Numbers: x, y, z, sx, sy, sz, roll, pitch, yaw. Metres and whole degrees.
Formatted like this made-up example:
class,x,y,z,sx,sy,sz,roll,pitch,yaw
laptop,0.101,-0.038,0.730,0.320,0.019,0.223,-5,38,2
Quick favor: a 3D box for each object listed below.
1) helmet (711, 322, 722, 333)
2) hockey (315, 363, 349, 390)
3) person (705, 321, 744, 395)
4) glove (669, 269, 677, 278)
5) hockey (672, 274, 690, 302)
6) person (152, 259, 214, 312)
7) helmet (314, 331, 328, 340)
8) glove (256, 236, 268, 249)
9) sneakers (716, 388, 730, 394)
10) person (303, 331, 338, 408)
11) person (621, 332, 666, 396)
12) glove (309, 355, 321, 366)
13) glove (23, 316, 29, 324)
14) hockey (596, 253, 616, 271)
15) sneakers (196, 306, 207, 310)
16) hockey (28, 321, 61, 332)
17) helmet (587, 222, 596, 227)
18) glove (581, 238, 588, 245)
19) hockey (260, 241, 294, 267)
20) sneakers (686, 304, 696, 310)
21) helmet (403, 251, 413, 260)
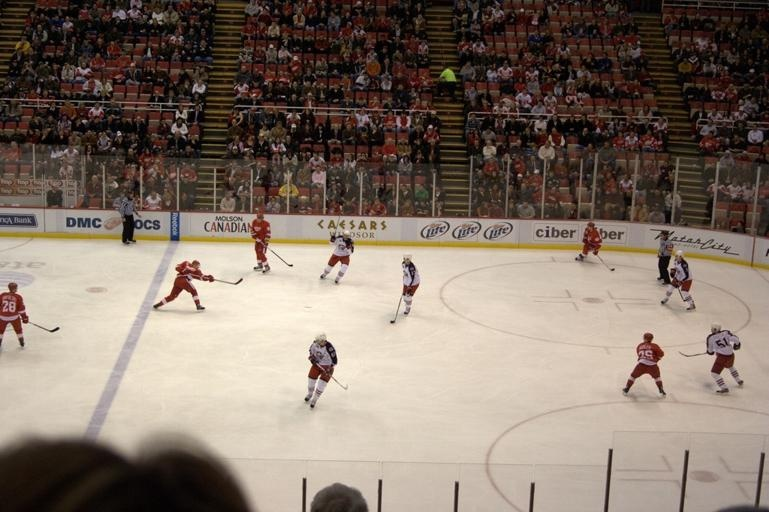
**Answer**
class,x,y,z,sx,sy,sz,roll,pitch,yaw
helmet,8.201,1.804,20.239,0.232,0.283,0.301,-3,1,39
hockey,-1.357,2.939,19.789,0.086,0.355,1.082,-5,36,-43
person,8.647,2.515,20.525,0.862,1.689,1.330,4,5,24
glove,8.810,0.517,24.811,0.157,0.236,0.205,4,5,26
hockey,9.182,1.038,25.010,0.385,0.757,0.492,4,5,30
person,-5.912,0.869,23.960,1.846,1.383,0.830,0,-7,1
helmet,-1.493,1.886,18.737,0.234,0.254,0.294,1,8,4
glove,-4.198,-0.436,27.507,0.401,0.360,0.253,1,4,-14
sneakers,8.337,3.346,20.047,0.312,0.124,0.109,2,12,12
person,-1.539,2.659,19.060,0.717,1.755,0.877,1,4,-5
person,6.447,2.650,20.022,0.978,1.537,0.973,3,5,18
glove,-1.704,2.443,18.882,0.155,0.233,0.300,-2,6,-43
glove,-9.397,1.660,21.041,0.186,0.186,0.230,0,-4,-5
hockey,8.047,0.268,29.742,0.606,0.169,0.590,32,3,-15
sneakers,-5.445,1.544,23.955,0.271,0.084,0.180,2,2,-34
hockey,-9.331,1.932,22.169,0.950,0.249,0.546,3,4,19
helmet,7.440,-1.166,29.300,0.196,0.149,0.255,7,-4,28
glove,7.348,-0.556,29.831,0.287,0.111,0.276,0,9,8
hockey,-3.932,-0.024,29.166,0.210,0.150,1.342,-36,59,-18
sneakers,9.519,1.595,25.205,0.291,0.261,0.139,1,14,19
helmet,0.729,-0.007,26.338,0.395,0.157,0.532,1,4,2
